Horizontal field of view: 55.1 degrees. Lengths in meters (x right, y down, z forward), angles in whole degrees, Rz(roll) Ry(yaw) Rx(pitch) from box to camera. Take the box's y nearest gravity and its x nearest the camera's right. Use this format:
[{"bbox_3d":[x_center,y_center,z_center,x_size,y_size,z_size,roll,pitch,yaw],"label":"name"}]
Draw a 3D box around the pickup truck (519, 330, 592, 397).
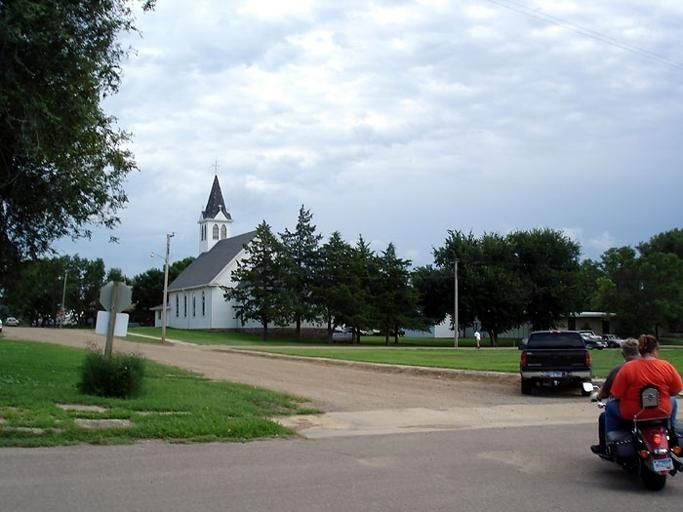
[{"bbox_3d":[7.382,3.730,23.204,2.090,1.800,3.909,0,0,6],"label":"pickup truck"}]
